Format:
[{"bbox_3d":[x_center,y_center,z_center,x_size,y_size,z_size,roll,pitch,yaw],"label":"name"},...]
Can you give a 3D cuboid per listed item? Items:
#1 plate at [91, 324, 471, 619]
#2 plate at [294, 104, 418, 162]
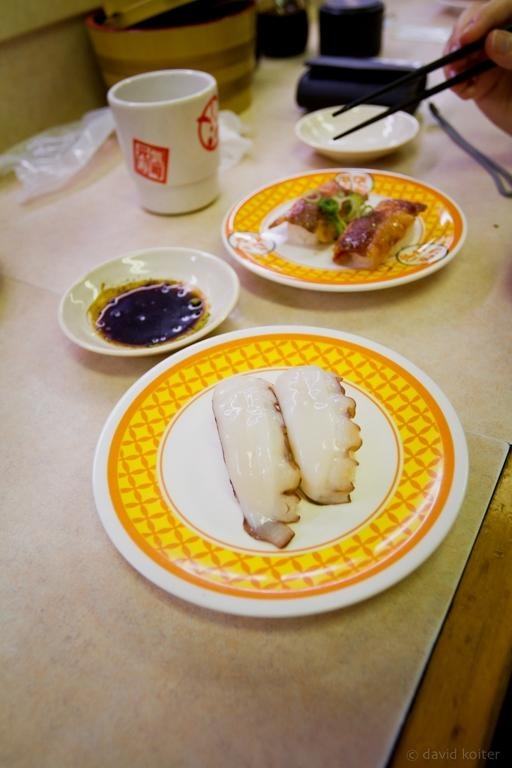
[{"bbox_3d":[0.021,0.061,0.654,0.373,0.038,0.377,-17,44,-15],"label":"plate"},{"bbox_3d":[0.212,-0.523,1.275,0.201,0.054,0.200,-7,49,1],"label":"plate"}]
